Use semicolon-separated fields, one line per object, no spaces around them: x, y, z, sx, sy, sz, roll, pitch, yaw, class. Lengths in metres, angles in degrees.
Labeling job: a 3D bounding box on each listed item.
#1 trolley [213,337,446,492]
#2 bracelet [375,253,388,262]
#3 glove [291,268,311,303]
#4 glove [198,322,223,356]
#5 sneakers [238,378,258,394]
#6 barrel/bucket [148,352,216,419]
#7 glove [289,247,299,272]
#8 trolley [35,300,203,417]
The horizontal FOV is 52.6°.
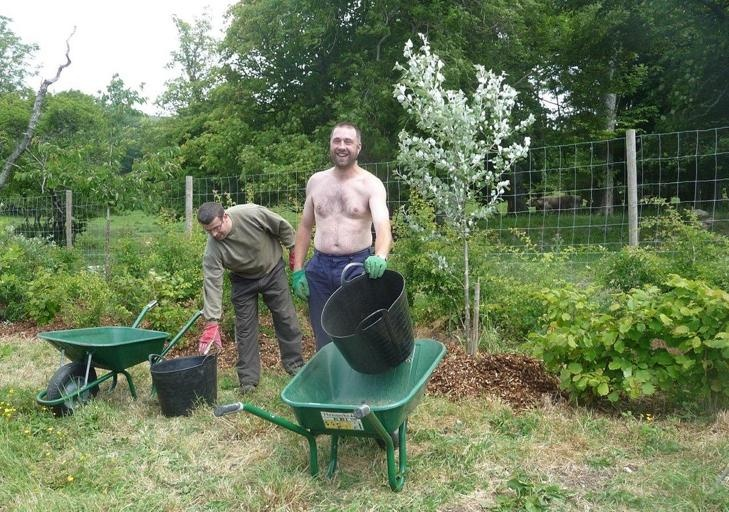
-0.110;1.901;8.302;1.419;1.234;2.380;3;17;25;trolley
0.196;0.013;8.472;0.079;0.085;0.083;34;-13;-26;bracelet
-0.812;0.384;9.196;0.168;0.338;0.244;-12;1;31;glove
-2.051;1.123;9.852;0.275;0.445;0.438;12;42;-13;glove
-1.538;1.738;9.714;0.187;0.149;0.076;7;-19;13;sneakers
-2.228;1.628;9.178;0.793;0.573;0.757;-6;-7;-1;barrel/bucket
-0.899;0.050;9.540;0.085;0.254;0.183;1;17;-34;glove
-3.085;1.256;9.828;1.159;1.072;2.203;4;3;32;trolley
